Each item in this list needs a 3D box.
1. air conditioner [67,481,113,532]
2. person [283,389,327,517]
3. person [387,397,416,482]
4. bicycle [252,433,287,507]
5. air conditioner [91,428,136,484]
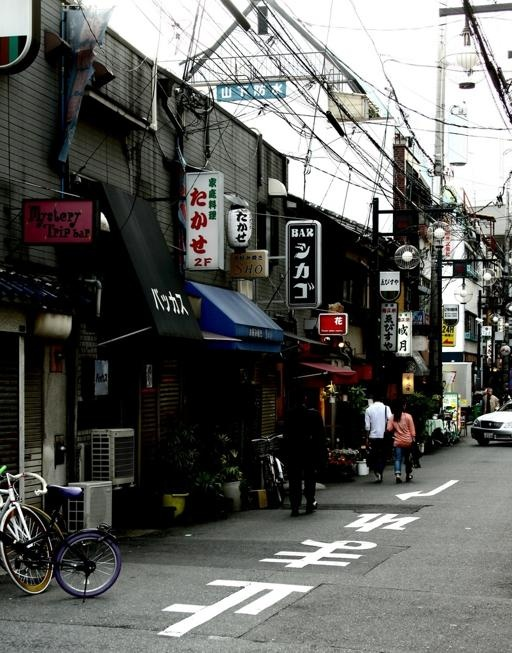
[{"bbox_3d":[-1.992,2.171,12.674,0.296,0.583,0.573,-1,-4,24],"label":"air conditioner"},{"bbox_3d":[0.696,1.900,15.265,0.582,1.619,0.533,-2,-5,-3],"label":"person"},{"bbox_3d":[2.804,2.250,20.485,0.491,1.564,1.024,-3,-6,7],"label":"person"},{"bbox_3d":[0.252,2.324,17.031,0.601,0.691,1.061,-4,-1,13],"label":"bicycle"},{"bbox_3d":[-1.952,1.787,14.250,0.399,0.785,0.566,-2,-5,23],"label":"air conditioner"}]
